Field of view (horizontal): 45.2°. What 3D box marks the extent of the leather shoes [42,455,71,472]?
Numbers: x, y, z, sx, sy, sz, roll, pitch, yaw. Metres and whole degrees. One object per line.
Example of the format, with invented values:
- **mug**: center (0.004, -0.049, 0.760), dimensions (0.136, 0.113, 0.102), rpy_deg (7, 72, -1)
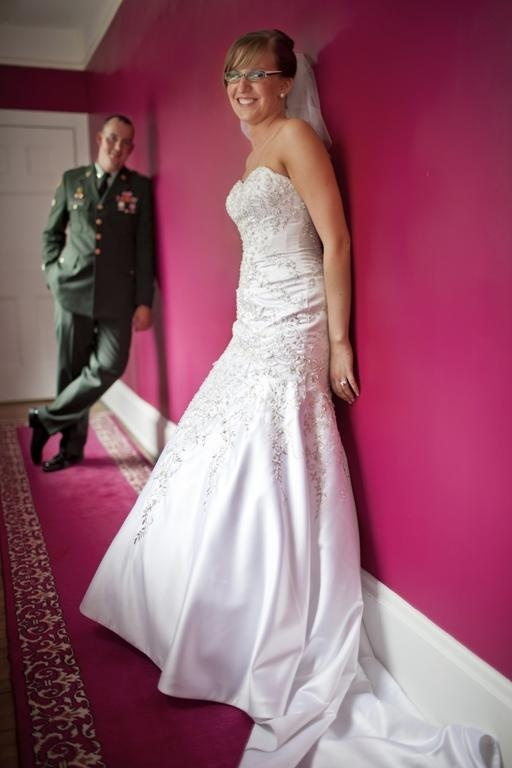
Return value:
- **leather shoes**: center (-1.069, 0.434, 3.286), dimensions (0.064, 0.069, 0.164), rpy_deg (-1, -6, 28)
